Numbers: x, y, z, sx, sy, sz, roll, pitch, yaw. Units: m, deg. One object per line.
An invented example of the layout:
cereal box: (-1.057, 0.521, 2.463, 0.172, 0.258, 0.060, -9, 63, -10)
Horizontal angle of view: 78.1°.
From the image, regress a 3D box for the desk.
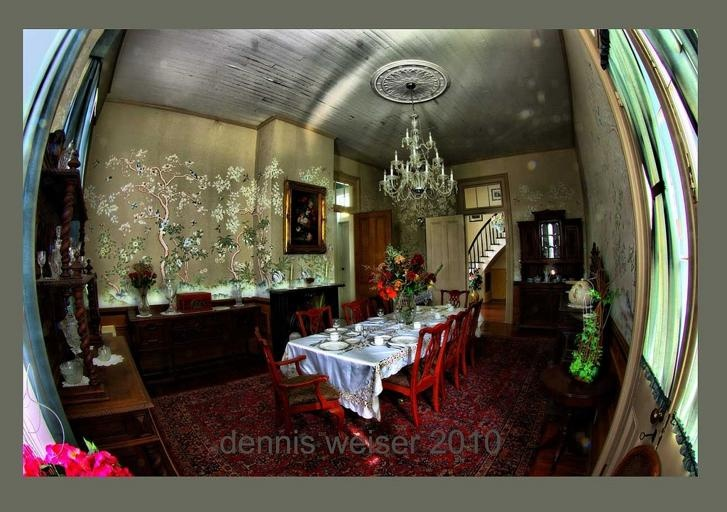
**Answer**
desk: (1.777, 1.507, 3.975, 0.600, 0.720, 0.606, 2, -5, -37)

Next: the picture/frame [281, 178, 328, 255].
picture/frame: (-0.975, -0.612, 7.112, 0.095, 1.399, 1.154, -4, -5, 35)

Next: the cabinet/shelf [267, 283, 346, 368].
cabinet/shelf: (-0.803, 0.889, 5.727, 0.305, 1.045, 1.067, -2, 0, 37)

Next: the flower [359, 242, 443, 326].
flower: (0.496, 0.390, 5.451, 0.851, 0.825, 0.839, -2, 4, -3)

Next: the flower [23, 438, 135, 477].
flower: (-2.034, 1.468, 3.149, 0.621, 0.269, 0.653, -8, -26, 18)

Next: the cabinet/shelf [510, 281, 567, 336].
cabinet/shelf: (3.043, 0.908, 7.746, 0.964, 0.951, 0.424, 0, 0, 32)

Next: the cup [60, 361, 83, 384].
cup: (-2.171, 0.861, 3.341, 0.159, 0.135, 0.148, -4, -4, 0)

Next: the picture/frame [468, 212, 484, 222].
picture/frame: (3.207, -1.056, 12.885, 0.172, 0.179, 0.493, -6, 9, -35)

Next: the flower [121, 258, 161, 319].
flower: (-2.911, 0.425, 5.945, 0.385, 0.704, 0.421, 0, -9, -23)

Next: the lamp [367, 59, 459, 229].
lamp: (0.747, -1.710, 6.896, 1.038, 1.912, 1.061, 0, 19, 11)

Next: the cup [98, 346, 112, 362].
cup: (-2.356, 0.897, 4.096, 0.124, 0.129, 0.129, -2, -4, 0)

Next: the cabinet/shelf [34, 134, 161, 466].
cabinet/shelf: (-2.334, 0.677, 3.938, 0.573, 2.036, 1.950, -11, 11, -30)

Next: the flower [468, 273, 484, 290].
flower: (2.631, 0.617, 10.587, 0.379, 0.536, 0.431, -3, 7, 4)

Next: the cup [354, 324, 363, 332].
cup: (-0.060, 0.819, 5.078, 0.062, 0.065, 0.065, -1, -1, 0)

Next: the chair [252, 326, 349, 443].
chair: (-0.645, 1.255, 4.449, 0.703, 1.069, 0.726, -10, 9, -22)

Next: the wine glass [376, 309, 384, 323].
wine glass: (0.205, 0.743, 5.516, 0.122, 0.210, 0.127, -1, -6, 2)

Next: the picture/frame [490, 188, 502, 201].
picture/frame: (3.138, -1.453, 10.653, 0.205, 0.291, 0.681, 1, 8, 14)

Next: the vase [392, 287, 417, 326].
vase: (0.487, 0.621, 5.349, 0.261, 0.391, 0.255, -6, 8, -20)

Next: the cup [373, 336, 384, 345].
cup: (0.152, 0.875, 4.603, 0.059, 0.059, 0.081, -3, -8, 18)

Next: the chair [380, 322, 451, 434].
chair: (0.510, 1.134, 4.710, 0.732, 1.005, 0.741, 2, 9, -7)
